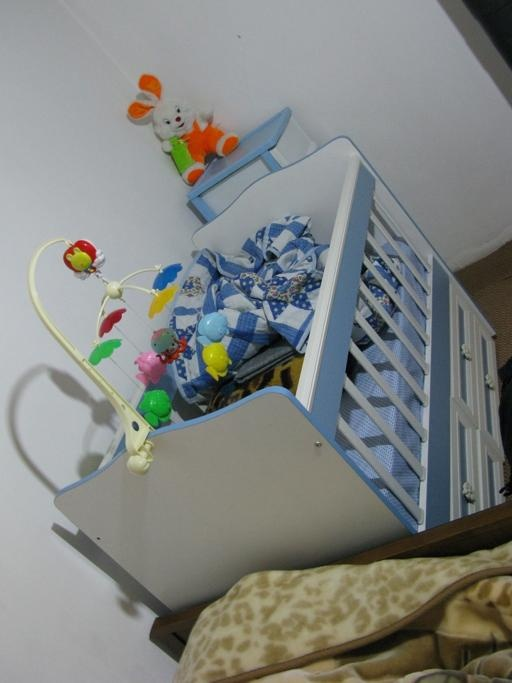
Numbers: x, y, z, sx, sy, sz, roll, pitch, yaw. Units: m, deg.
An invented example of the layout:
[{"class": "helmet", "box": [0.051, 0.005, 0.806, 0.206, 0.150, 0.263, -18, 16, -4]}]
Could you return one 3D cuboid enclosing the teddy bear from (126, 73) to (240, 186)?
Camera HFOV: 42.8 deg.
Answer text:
[{"class": "teddy bear", "box": [-0.292, -0.843, 2.567, 0.267, 0.409, 0.264, -58, 41, 7]}]
